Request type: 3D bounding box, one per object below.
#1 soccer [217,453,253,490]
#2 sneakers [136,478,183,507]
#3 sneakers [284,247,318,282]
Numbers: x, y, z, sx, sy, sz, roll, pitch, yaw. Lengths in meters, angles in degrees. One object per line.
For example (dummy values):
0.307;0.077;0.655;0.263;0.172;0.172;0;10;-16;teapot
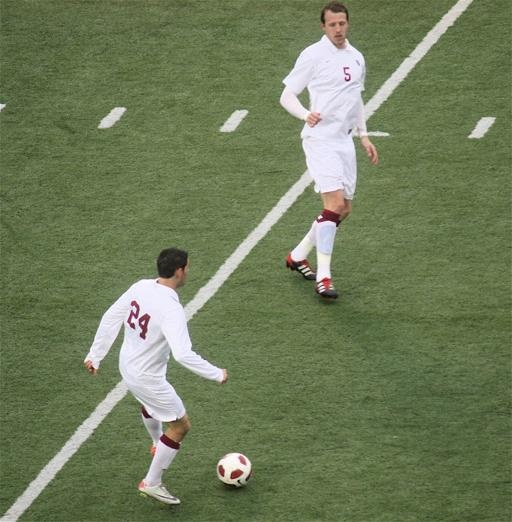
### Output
-0.190;1.543;8.378;0.286;0.242;0.232;4;67;-19;soccer
-0.696;1.672;8.265;0.375;0.124;0.136;22;93;-13;sneakers
0.332;0.029;10.197;0.398;0.167;0.131;27;16;-13;sneakers
